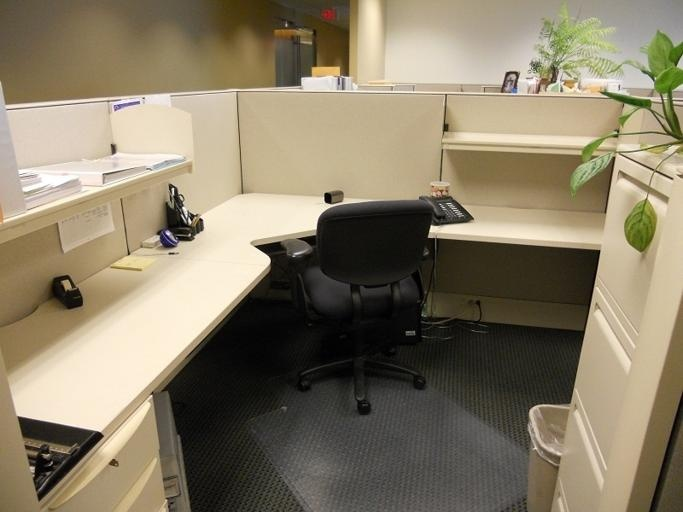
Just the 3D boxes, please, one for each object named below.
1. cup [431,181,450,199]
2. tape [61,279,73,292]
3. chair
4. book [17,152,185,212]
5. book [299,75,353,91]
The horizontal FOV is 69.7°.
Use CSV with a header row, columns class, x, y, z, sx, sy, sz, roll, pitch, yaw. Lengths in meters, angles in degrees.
class,x,y,z,sx,sy,sz,roll,pitch,yaw
cup,0.547,-0.377,2.724,0.090,0.076,0.095,-1,16,0
tape,-0.975,0.101,1.739,0.028,0.013,0.051,-9,34,-37
chair,0.070,0.176,2.449,0.608,1.121,0.636,1,16,-19
book,-0.829,-0.264,1.666,0.416,0.170,0.560,10,12,22
book,-0.093,-1.158,3.251,0.331,0.083,0.172,-2,25,-7
